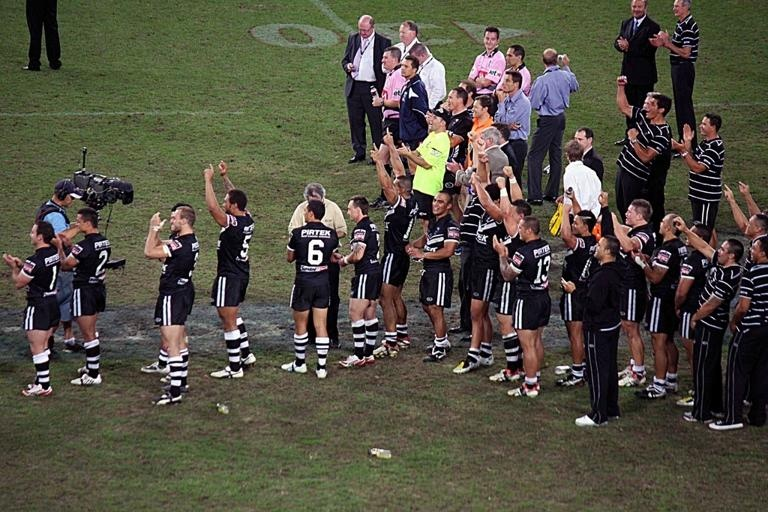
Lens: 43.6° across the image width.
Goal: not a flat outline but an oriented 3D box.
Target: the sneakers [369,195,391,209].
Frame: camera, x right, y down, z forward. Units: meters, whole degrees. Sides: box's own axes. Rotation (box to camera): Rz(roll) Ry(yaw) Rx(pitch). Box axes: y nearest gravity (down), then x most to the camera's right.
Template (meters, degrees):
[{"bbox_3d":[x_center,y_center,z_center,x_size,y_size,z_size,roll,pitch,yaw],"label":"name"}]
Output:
[{"bbox_3d":[-0.152,-1.086,19.180,0.518,0.213,0.179,-4,27,-10],"label":"sneakers"}]

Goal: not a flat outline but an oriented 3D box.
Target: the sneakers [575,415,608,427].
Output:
[{"bbox_3d":[3.022,2.392,14.097,0.466,0.176,0.177,4,2,3],"label":"sneakers"}]

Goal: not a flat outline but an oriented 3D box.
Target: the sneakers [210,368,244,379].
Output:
[{"bbox_3d":[-2.426,1.810,14.979,0.548,0.204,0.188,3,2,-1],"label":"sneakers"}]

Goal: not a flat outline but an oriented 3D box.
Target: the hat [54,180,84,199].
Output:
[{"bbox_3d":[-4.955,-1.054,15.100,0.411,0.228,0.274,8,16,-18],"label":"hat"}]

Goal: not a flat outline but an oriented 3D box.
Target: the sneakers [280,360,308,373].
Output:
[{"bbox_3d":[-1.409,1.743,15.163,0.462,0.172,0.162,3,3,13],"label":"sneakers"}]

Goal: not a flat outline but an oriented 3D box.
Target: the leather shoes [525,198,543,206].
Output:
[{"bbox_3d":[3.031,-1.131,19.425,0.370,0.132,0.137,13,15,16],"label":"leather shoes"}]

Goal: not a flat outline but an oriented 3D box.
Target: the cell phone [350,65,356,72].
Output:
[{"bbox_3d":[-0.629,-3.932,20.009,0.118,0.100,0.044,2,8,-19],"label":"cell phone"}]

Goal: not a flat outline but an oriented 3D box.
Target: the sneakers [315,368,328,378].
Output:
[{"bbox_3d":[-0.967,1.810,14.990,0.188,0.154,0.153,-4,10,-14],"label":"sneakers"}]

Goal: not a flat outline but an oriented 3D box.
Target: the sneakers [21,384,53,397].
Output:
[{"bbox_3d":[-5.120,1.983,14.304,0.513,0.207,0.163,3,4,-4],"label":"sneakers"}]
